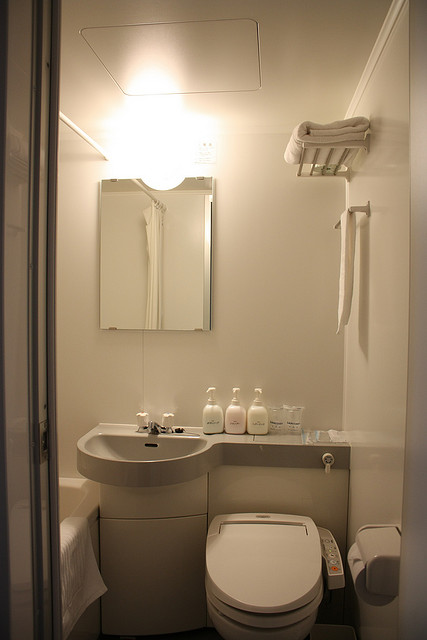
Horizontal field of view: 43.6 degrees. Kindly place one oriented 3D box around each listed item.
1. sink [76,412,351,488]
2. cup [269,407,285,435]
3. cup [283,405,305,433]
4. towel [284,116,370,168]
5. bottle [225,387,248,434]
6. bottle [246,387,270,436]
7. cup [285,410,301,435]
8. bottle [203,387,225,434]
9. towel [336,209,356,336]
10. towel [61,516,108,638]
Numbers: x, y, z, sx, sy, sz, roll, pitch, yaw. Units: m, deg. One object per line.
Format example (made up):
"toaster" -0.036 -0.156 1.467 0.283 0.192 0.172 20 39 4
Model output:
"sink" -0.019 0.484 2.073 0.978 0.186 0.518 1 5 -3
"cup" 0.257 0.409 2.162 0.068 0.132 0.079 1 -7 3
"cup" 0.320 0.398 2.139 0.078 0.105 0.076 0 -8 0
"towel" 0.366 -0.578 1.754 0.247 0.110 0.334 2 5 6
"bottle" 0.096 0.372 2.171 0.108 0.195 0.108 -2 -6 0
"bottle" 0.180 0.368 2.153 0.095 0.182 0.095 1 4 0
"cup" 0.319 0.411 2.138 0.069 0.124 0.077 -3 -5 23
"bottle" 0.002 0.365 2.180 0.088 0.180 0.119 1 4 0
"towel" 0.451 -0.162 1.765 0.040 0.410 0.108 6 7 28
"towel" -0.391 0.833 1.728 0.066 0.302 0.199 -2 2 10
